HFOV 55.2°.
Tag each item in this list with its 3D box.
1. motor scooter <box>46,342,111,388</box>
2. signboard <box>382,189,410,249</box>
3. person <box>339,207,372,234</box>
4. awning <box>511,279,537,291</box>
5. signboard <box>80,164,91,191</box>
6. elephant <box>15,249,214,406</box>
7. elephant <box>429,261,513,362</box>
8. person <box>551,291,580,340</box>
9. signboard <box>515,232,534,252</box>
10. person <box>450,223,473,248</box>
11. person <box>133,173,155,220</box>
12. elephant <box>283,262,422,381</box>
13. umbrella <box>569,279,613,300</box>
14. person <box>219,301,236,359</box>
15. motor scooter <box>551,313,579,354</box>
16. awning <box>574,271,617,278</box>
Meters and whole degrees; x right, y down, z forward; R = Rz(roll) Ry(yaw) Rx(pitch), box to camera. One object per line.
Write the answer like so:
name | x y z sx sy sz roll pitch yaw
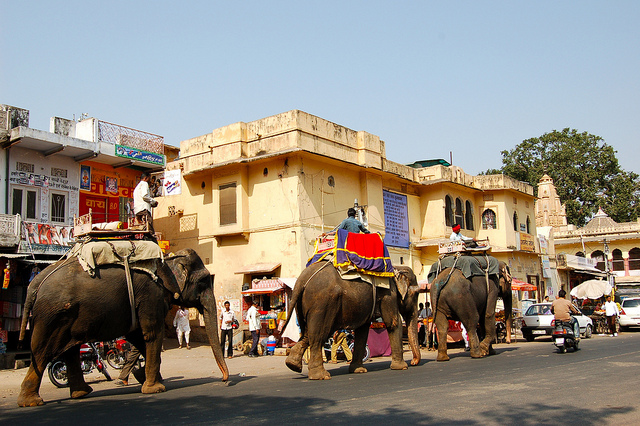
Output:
motor scooter | -5.744 3.468 14.795 1.687 1.128 0.820 -9 -5 -2
signboard | 3.480 0.291 28.571 0.199 2.786 2.761 -3 -4 33
person | 1.044 0.182 18.798 1.021 0.765 0.291 -2 1 -24
awning | 9.016 3.246 27.276 0.909 0.262 0.973 0 2 -15
signboard | -9.246 -1.433 24.132 0.116 0.971 0.476 -8 -13 32
elephant | -4.282 2.210 12.506 3.190 3.055 2.475 3 -12 -21
elephant | 4.408 2.672 17.429 1.228 2.733 4.163 -8 -9 42
person | 7.145 2.950 18.144 0.783 0.909 1.388 -3 -6 28
signboard | 11.721 1.669 35.180 0.262 1.109 2.520 -10 -14 39
person | 4.012 0.644 17.719 0.457 0.805 1.310 -3 -11 11
person | -4.138 -0.334 14.463 0.461 1.142 1.137 2 -11 -15
elephant | 0.786 2.426 14.125 1.494 2.615 3.350 -10 -14 38
umbrella | 13.330 3.700 30.052 1.650 0.875 1.656 -9 -14 35
person | -3.098 3.892 20.518 0.416 1.880 1.161 0 -11 -8
motor scooter | 6.942 3.478 17.424 0.737 0.940 0.423 5 -12 -31
awning | 19.452 4.253 43.673 5.308 0.343 0.699 9 -15 -44
